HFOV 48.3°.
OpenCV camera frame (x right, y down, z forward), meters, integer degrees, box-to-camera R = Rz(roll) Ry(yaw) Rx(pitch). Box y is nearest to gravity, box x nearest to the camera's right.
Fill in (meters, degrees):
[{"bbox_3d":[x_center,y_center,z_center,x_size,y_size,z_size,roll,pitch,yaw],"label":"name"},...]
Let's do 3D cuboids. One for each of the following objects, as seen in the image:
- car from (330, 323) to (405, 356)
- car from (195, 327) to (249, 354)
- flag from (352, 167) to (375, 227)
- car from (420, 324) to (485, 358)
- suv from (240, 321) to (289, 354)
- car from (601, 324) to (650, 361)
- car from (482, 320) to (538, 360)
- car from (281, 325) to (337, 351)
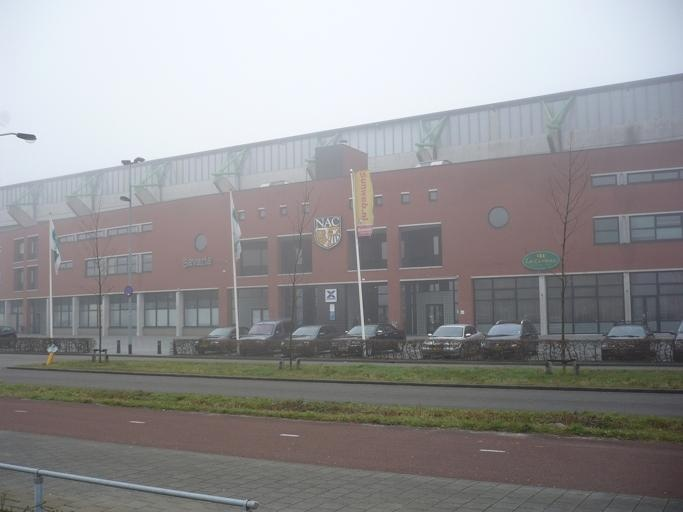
[{"bbox_3d":[1.785,4.358,38.767,1.578,1.222,3.571,-9,-12,42],"label":"car"},{"bbox_3d":[-6.851,4.831,43.270,1.382,1.083,2.612,-5,-12,24],"label":"car"},{"bbox_3d":[1.309,-3.109,44.650,1.108,4.215,0.063,-5,-18,7],"label":"flag"},{"bbox_3d":[5.259,3.998,35.521,2.887,1.619,1.815,2,-8,-26],"label":"car"},{"bbox_3d":[-4.046,4.602,42.471,1.412,1.384,2.674,-5,-9,24],"label":"suv"},{"bbox_3d":[12.345,3.781,32.906,2.068,1.561,2.211,-5,-8,23],"label":"car"},{"bbox_3d":[7.645,3.898,34.830,2.375,1.788,3.038,-3,-8,13],"label":"car"},{"bbox_3d":[-1.574,4.430,40.045,1.245,0.955,2.803,-6,-10,25],"label":"car"}]
